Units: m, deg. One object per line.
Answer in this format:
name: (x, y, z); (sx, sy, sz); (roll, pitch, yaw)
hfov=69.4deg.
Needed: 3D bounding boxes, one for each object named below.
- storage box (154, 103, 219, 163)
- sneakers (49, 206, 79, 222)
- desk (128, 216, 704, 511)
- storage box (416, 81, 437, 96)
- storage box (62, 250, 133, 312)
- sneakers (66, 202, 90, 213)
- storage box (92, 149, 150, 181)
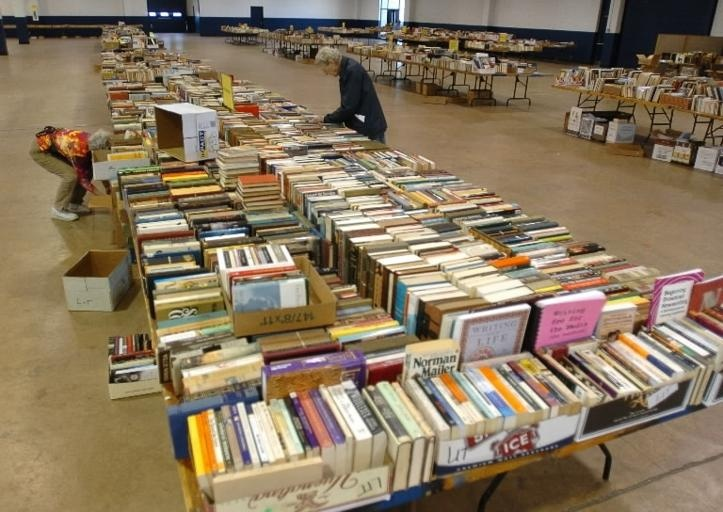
storage box: (-1.499, -1.036, 4.464); (0.327, 0.326, 0.601); (-20, 35, -36)
sneakers: (-3.326, -0.466, 5.848); (0.350, 0.115, 0.116); (7, 26, -11)
desk: (0.495, 0.518, 2.188); (1.843, 0.340, 1.157); (-16, 35, -23)
storage box: (1.719, -4.365, 13.796); (0.597, 0.290, 0.484); (3, 37, -11)
storage box: (-2.224, 0.204, 4.453); (0.430, 0.251, 0.495); (1, 28, -5)
sneakers: (-3.234, -0.539, 5.978); (0.245, 0.087, 0.081); (-4, 30, -18)
storage box: (-2.104, -0.813, 4.571); (0.434, 0.121, 0.369); (-15, 22, -20)
